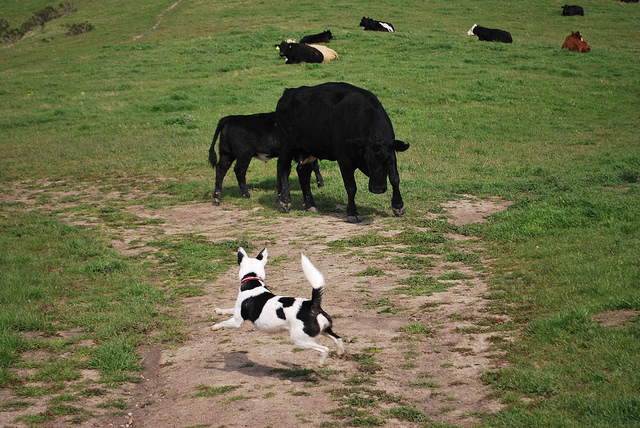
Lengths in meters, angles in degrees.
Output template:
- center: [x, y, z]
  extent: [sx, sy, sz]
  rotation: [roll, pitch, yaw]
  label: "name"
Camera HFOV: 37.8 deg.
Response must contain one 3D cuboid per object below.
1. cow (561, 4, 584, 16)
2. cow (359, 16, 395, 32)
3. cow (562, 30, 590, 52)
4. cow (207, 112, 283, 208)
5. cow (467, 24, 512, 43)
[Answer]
- center: [15.740, -12.625, 58.114]
  extent: [1.631, 0.596, 0.722]
  rotation: [-11, 20, -37]
  label: "cow"
- center: [3.071, -10.363, 51.221]
  extent: [2.135, 0.670, 0.832]
  rotation: [14, 21, 39]
  label: "cow"
- center: [13.115, -8.733, 47.704]
  extent: [1.034, 0.752, 1.357]
  rotation: [1, 11, 2]
  label: "cow"
- center: [-2.623, -2.014, 32.119]
  extent: [2.365, 3.010, 1.512]
  rotation: [-3, 18, -12]
  label: "cow"
- center: [9.010, -9.585, 49.863]
  extent: [1.177, 0.731, 2.485]
  rotation: [-10, 19, -34]
  label: "cow"
